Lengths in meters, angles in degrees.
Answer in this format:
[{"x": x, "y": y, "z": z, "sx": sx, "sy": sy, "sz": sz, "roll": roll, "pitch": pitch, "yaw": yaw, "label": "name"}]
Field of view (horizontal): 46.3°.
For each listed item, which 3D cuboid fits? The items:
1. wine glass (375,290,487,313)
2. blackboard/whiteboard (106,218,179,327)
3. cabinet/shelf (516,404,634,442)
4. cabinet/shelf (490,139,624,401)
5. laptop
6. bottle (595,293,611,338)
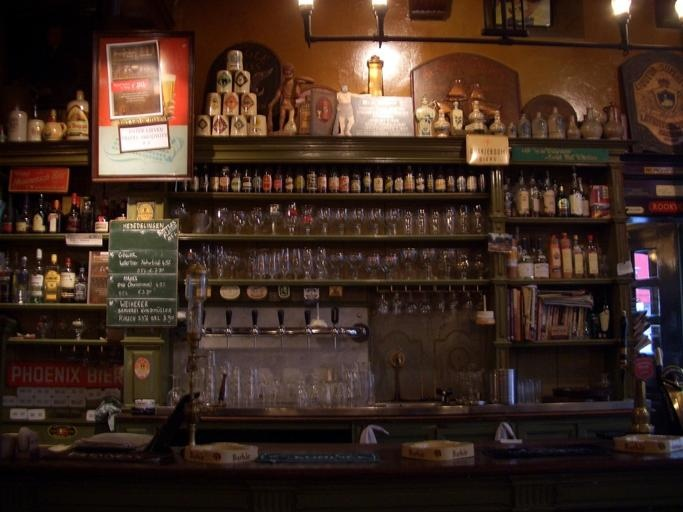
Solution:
[{"x": 0.782, "y": 0.403, "z": 7.086, "sx": 0.937, "sy": 0.212, "sz": 0.198, "roll": 0, "pitch": -6, "yaw": -5, "label": "wine glass"}, {"x": -1.690, "y": 0.163, "z": 6.763, "sx": 0.784, "sy": 1.236, "sz": 0.088, "roll": -1, "pitch": -12, "yaw": -2, "label": "blackboard/whiteboard"}, {"x": 1.934, "y": 1.352, "z": 6.597, "sx": 1.043, "sy": 0.279, "sz": 0.249, "roll": 1, "pitch": -7, "yaw": -15, "label": "cabinet/shelf"}, {"x": 2.012, "y": 0.214, "z": 7.134, "sx": 1.141, "sy": 2.409, "sz": 0.425, "roll": 0, "pitch": 10, "yaw": 29, "label": "cabinet/shelf"}, {"x": -1.293, "y": 1.112, "z": 5.141, "sx": 0.542, "sy": 0.226, "sz": 0.425, "roll": 3, "pitch": -16, "yaw": -2, "label": "laptop"}, {"x": 2.329, "y": 0.519, "z": 7.084, "sx": 0.129, "sy": 0.386, "sz": 0.154, "roll": -2, "pitch": -7, "yaw": 18, "label": "bottle"}]
